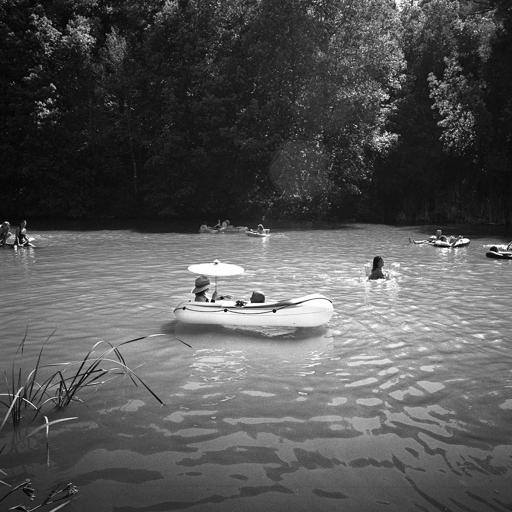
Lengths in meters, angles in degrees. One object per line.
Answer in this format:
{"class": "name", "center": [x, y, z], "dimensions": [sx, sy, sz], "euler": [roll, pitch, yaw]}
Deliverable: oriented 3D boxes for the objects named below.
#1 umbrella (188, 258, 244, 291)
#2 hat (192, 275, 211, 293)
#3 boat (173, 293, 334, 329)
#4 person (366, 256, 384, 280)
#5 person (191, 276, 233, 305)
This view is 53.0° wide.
{"class": "umbrella", "center": [-0.831, 0.668, 11.162], "dimensions": [1.033, 0.798, 1.026], "euler": [5, 22, 6]}
{"class": "hat", "center": [-1.145, 0.596, 11.135], "dimensions": [0.300, 0.185, 0.398], "euler": [14, 39, 42]}
{"class": "boat", "center": [-0.012, 1.173, 10.815], "dimensions": [2.425, 0.643, 1.244], "euler": [-1, -2, 10]}
{"class": "person", "center": [4.176, 0.432, 17.975], "dimensions": [0.578, 0.931, 0.430], "euler": [8, 18, 32]}
{"class": "person", "center": [-0.985, 0.728, 11.414], "dimensions": [0.448, 0.526, 0.947], "euler": [11, 11, 42]}
